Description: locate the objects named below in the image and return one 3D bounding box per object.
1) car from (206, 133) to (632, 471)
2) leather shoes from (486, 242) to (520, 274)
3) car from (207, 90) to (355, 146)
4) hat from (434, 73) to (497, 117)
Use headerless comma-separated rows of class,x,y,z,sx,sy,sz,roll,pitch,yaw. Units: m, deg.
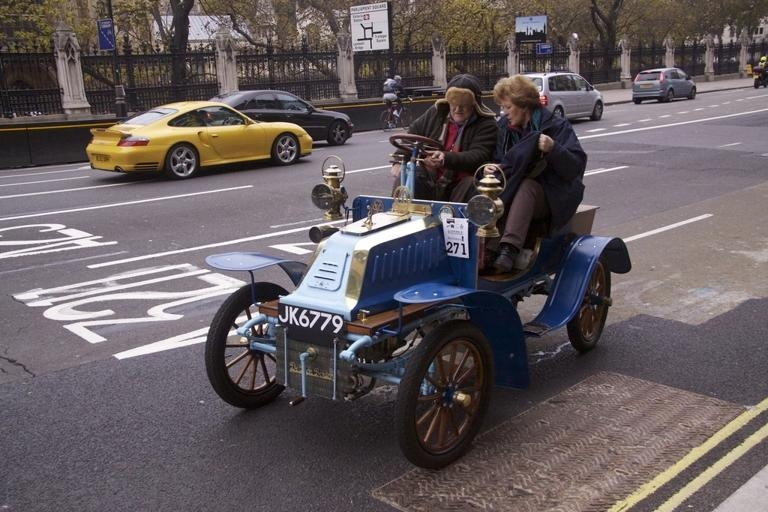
car,0.506,0.189,6.234,2.232,2.167,3.706,5,9,40
leather shoes,1.090,0.020,5.918,0.140,0.292,0.408,19,1,21
car,-2.895,-4.278,19.908,3.926,1.248,1.731,-5,12,-34
hat,0.839,-1.575,6.379,0.353,0.295,0.510,5,5,29
